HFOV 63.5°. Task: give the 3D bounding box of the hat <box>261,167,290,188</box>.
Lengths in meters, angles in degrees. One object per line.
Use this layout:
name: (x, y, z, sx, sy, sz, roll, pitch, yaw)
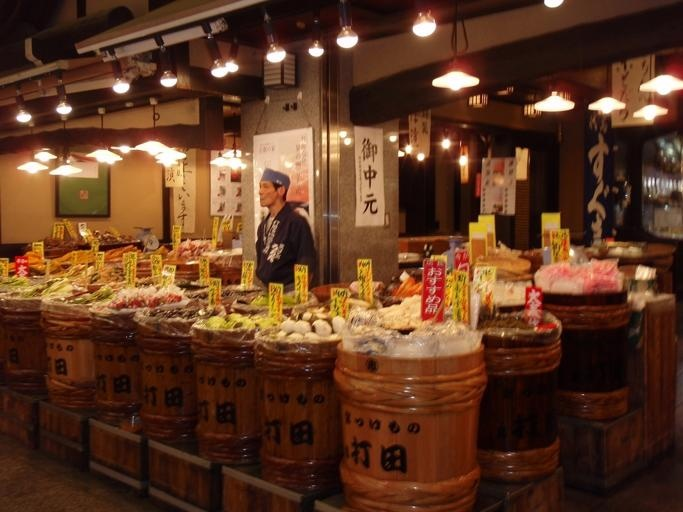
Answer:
hat: (-0.674, -0.786, 5.710, 0.210, 0.138, 0.235, 19, 14, 37)
